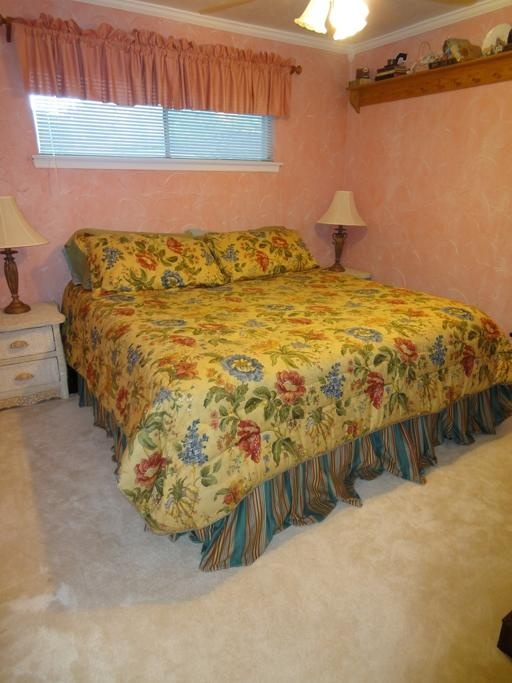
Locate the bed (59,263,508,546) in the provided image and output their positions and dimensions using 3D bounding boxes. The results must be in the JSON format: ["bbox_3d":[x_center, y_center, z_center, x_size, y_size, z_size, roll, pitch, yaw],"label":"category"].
[{"bbox_3d":[0.080,0.015,2.684,1.905,0.544,1.967,-10,18,-24],"label":"bed"}]

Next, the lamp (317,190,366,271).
[{"bbox_3d":[0.645,-0.841,4.064,0.400,0.575,0.375,4,12,5],"label":"lamp"}]
